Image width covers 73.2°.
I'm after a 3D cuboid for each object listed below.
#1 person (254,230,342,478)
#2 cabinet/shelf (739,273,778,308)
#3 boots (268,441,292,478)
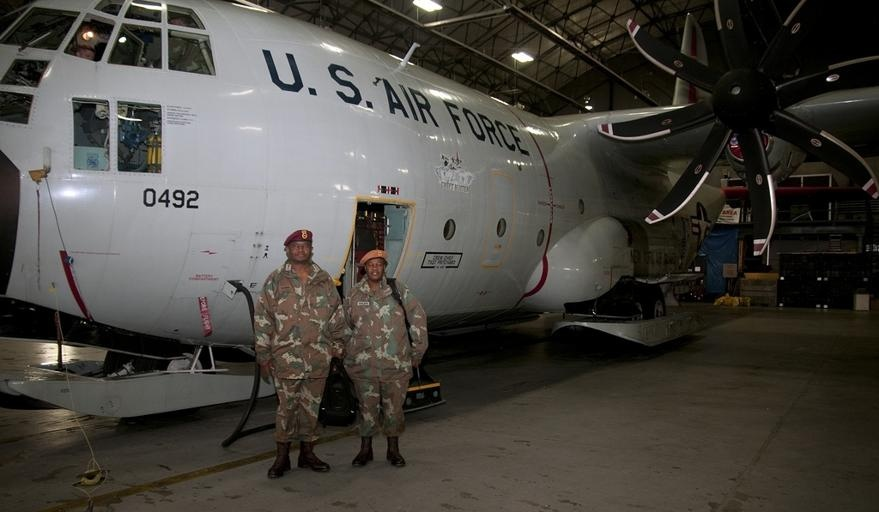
[{"bbox_3d":[-1.799,1.054,7.713,1.129,2.699,0.519,-2,9,-18],"label":"person"},{"bbox_3d":[14.819,1.546,27.245,1.658,1.614,1.019,1,1,31],"label":"cabinet/shelf"},{"bbox_3d":[-2.074,2.640,7.686,0.181,0.412,0.446,1,3,19],"label":"boots"}]
